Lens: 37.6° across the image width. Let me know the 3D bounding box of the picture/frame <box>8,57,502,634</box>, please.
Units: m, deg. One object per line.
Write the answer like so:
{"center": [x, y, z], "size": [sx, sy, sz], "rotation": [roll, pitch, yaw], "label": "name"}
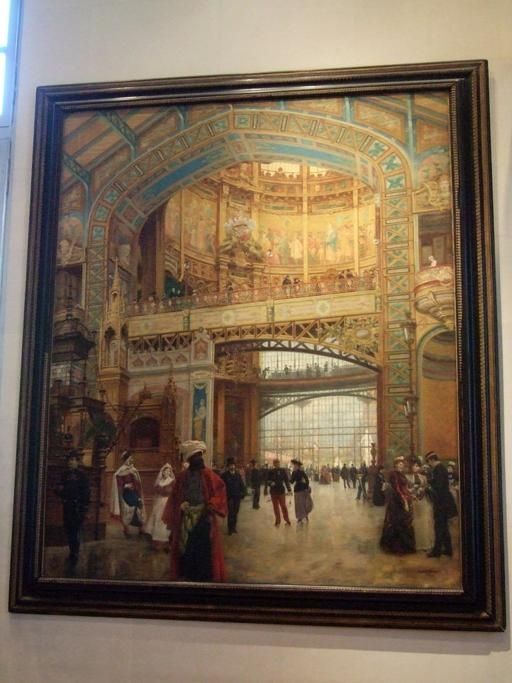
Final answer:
{"center": [0.054, 0.082, 3.083], "size": [2.452, 2.701, 0.134], "rotation": [-1, -11, 9], "label": "picture/frame"}
